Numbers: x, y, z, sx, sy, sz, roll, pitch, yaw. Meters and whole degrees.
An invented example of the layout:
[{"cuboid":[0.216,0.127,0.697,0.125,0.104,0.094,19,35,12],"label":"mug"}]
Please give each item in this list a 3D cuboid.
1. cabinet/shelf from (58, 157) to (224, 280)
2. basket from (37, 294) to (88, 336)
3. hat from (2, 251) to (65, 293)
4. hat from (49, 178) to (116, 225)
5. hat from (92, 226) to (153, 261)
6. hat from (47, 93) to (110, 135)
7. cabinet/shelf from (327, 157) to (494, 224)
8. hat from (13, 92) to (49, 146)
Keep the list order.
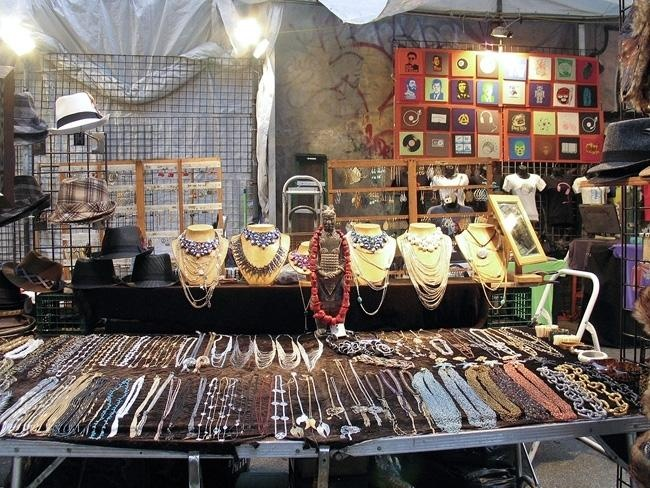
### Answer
[{"cuboid":[-1.610,-0.228,5.123,1.107,1.107,0.392,-1,4,-3],"label":"cabinet/shelf"},{"cuboid":[-2.037,0.522,4.517,0.355,0.321,0.404,-2,-7,-6],"label":"basket"},{"cuboid":[-2.154,0.138,4.359,0.334,0.133,0.318,28,20,-6],"label":"hat"},{"cuboid":[-1.921,-0.345,4.693,0.407,0.220,0.539,-1,3,-19],"label":"hat"},{"cuboid":[-1.638,-0.018,4.718,0.465,0.249,0.614,-6,1,2],"label":"hat"},{"cuboid":[-2.048,-1.093,4.874,0.488,0.345,0.312,-5,6,-3],"label":"hat"},{"cuboid":[0.684,-0.434,4.837,1.338,0.570,0.183,-5,5,-2],"label":"cabinet/shelf"},{"cuboid":[-2.463,-1.062,4.942,0.299,0.423,0.183,-6,-2,-20],"label":"hat"}]
